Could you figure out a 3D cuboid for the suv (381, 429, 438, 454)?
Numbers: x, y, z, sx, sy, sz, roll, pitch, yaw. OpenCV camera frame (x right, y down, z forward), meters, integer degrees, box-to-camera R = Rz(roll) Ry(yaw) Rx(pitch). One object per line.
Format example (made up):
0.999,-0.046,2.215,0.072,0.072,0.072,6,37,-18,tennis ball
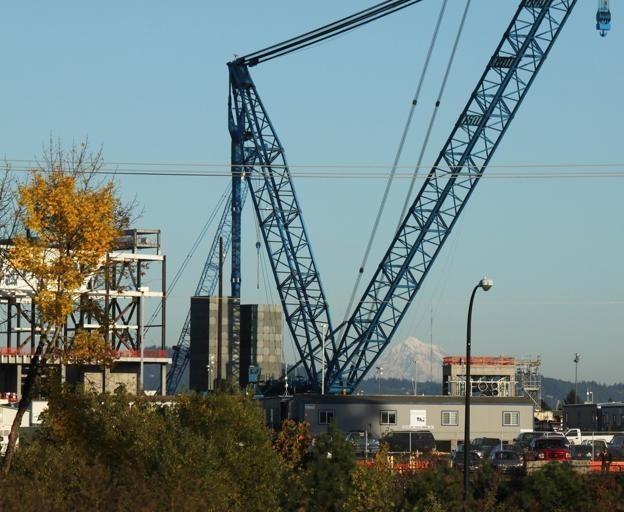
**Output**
6.190,11.713,124.154,3.188,1.757,2.131,2,-6,-1,suv
